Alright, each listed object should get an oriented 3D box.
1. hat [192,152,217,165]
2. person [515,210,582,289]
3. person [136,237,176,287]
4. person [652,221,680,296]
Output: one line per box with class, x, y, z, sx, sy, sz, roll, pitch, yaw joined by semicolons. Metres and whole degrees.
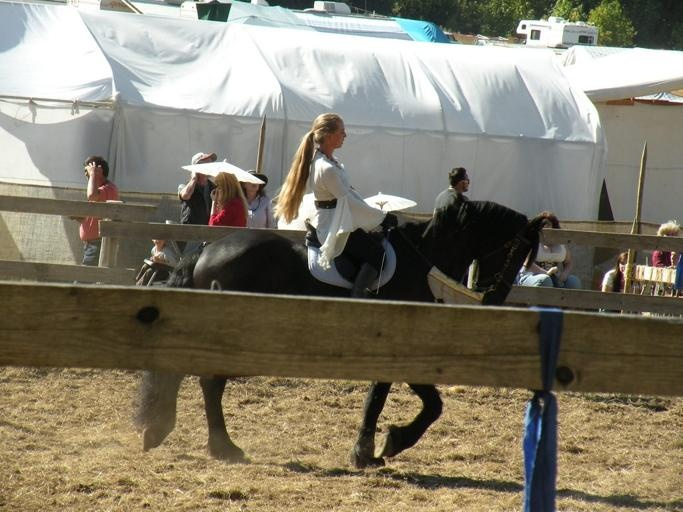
hat;-2.533;-1.772;31.790;0.398;0.164;0.279;-15;0;16
person;3.769;0.106;31.453;0.832;1.906;1.060;-2;6;-24
person;-3.314;0.096;31.211;0.599;1.013;0.558;24;24;26
person;5.969;-0.038;32.318;0.499;1.186;1.828;3;10;11
